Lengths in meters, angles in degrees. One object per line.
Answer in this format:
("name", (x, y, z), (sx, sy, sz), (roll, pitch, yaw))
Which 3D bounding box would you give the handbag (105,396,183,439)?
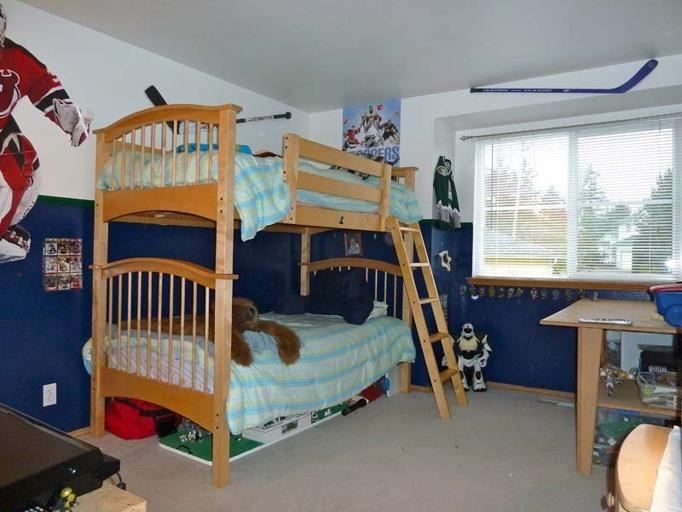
("handbag", (-1.487, 1.147, 4.028), (0.383, 0.155, 0.300), (7, 3, 39))

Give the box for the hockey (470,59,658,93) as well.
("hockey", (1.877, -1.453, 4.689), (1.409, 0.238, 0.080), (1, 4, 25))

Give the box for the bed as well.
("bed", (-0.546, 0.088, 4.641), (1.718, 2.475, 2.631), (1, 5, 34))

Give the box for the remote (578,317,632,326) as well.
("remote", (1.701, 0.422, 3.602), (0.337, 0.019, 0.222), (-1, 4, -1))

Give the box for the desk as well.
("desk", (1.855, 0.788, 4.029), (1.066, 1.013, 1.079), (4, 9, 32))

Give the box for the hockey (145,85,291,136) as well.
("hockey", (-1.037, -1.252, 4.774), (0.946, 0.544, 0.591), (-1, 38, 1))

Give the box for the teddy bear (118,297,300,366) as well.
("teddy bear", (-0.763, 0.516, 3.885), (0.680, 0.246, 0.680), (3, 1, 35))
